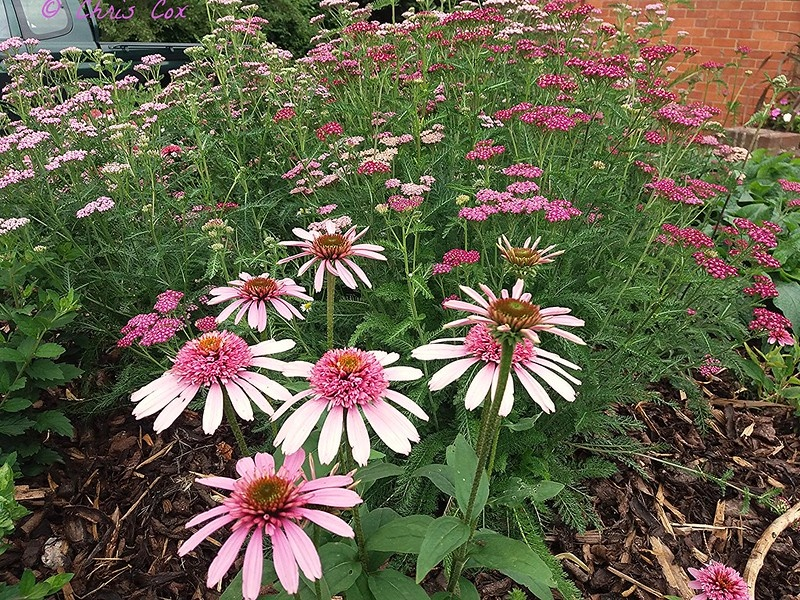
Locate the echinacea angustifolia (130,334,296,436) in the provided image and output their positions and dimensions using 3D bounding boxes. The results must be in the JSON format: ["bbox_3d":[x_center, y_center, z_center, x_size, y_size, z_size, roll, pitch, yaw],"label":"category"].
[{"bbox_3d":[-0.723,0.303,2.365,0.496,0.158,0.478,3,32,2],"label":"echinacea angustifolia"}]

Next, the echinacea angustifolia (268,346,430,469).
[{"bbox_3d":[-0.196,0.417,2.255,0.578,0.311,0.424,-4,40,0],"label":"echinacea angustifolia"}]
